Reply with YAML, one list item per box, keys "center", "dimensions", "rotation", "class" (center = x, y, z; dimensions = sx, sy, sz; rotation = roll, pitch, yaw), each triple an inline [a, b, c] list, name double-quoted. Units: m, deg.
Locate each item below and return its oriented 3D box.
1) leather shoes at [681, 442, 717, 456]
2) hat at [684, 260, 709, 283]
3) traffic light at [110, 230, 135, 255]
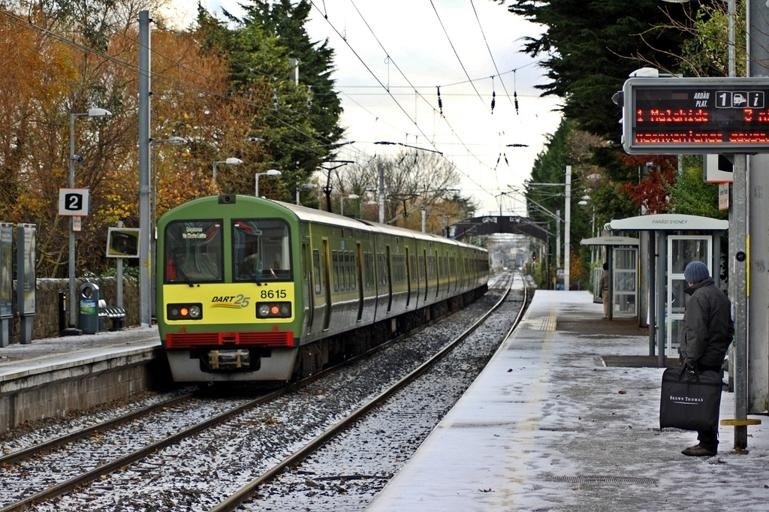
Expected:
- center: [3.783, 2.322, 10.618]
  dimensions: [0.448, 0.168, 0.150]
  rotation: [2, 0, 7]
  class: "leather shoes"
- center: [3.845, 0.203, 10.804]
  dimensions: [0.278, 0.227, 0.280]
  rotation: [-5, -7, 14]
  class: "hat"
- center: [-7.480, -0.377, 25.182]
  dimensions: [0.717, 0.681, 0.247]
  rotation: [3, -3, -12]
  class: "traffic light"
